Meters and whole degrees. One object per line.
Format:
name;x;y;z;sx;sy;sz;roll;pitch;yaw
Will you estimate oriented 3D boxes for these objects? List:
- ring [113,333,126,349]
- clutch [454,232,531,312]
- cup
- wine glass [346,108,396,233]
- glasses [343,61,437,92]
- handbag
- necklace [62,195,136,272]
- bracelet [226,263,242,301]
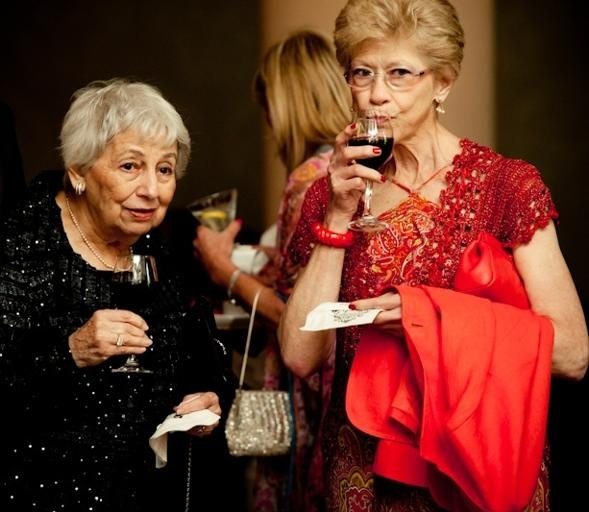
ring;-0.481;0.232;1.755;0.024;0.032;0.012;4;-9;-4
clutch;0.550;0.021;1.676;0.116;0.212;0.205;-25;11;31
cup;-0.373;-0.190;3.068;0.219;0.167;0.223;-12;-10;-2
wine glass;0.214;-0.230;1.776;0.120;0.340;0.322;0;27;8
glasses;0.255;-0.484;1.742;0.215;0.064;0.061;4;28;15
handbag;-0.130;0.640;2.457;0.327;0.317;0.149;2;-7;-7
necklace;-0.589;-0.073;1.925;0.026;0.280;0.206;-22;1;37
bracelet;-0.241;0.111;2.494;0.023;0.097;0.085;9;-32;-3
